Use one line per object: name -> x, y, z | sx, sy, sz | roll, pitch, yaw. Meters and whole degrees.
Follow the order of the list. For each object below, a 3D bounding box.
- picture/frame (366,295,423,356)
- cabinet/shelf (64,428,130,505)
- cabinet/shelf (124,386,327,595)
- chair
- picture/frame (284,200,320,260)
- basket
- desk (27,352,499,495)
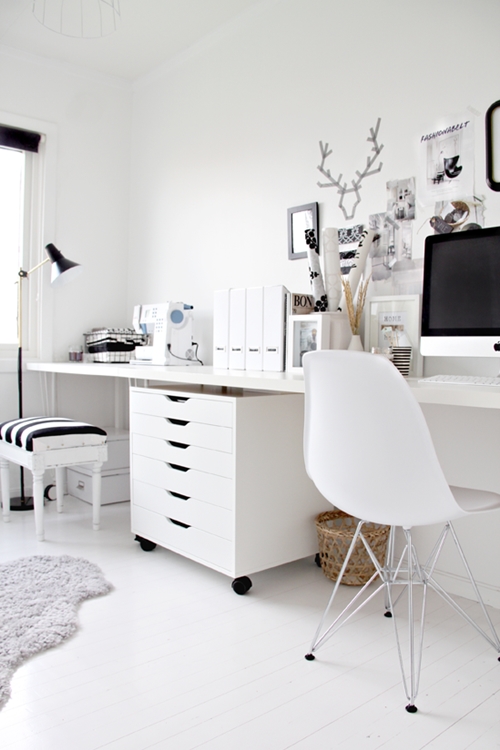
picture/frame -> 0.457, -0.153, 1.770 | 0.206, 0.264, 0.034 | -4, -9, 44
cabinet/shelf -> -0.796, 0.494, 3.058 | 0.301, 0.483, 0.454 | 1, 0, -38
cabinet/shelf -> -0.075, 0.349, 2.173 | 0.567, 0.765, 0.749 | 1, 0, -41
chair -> 0.381, 0.327, 1.361 | 0.498, 0.725, 0.752 | 0, -1, 10
picture/frame -> 0.209, -0.582, 2.273 | 0.048, 0.223, 0.189 | 1, -1, -30
basket -> 0.346, 0.589, 1.887 | 0.215, 0.176, 0.229 | 1, 6, 35
desk -> 0.072, 0.022, 1.733 | 0.481, 0.289, 1.140 | 1, 1, -45
